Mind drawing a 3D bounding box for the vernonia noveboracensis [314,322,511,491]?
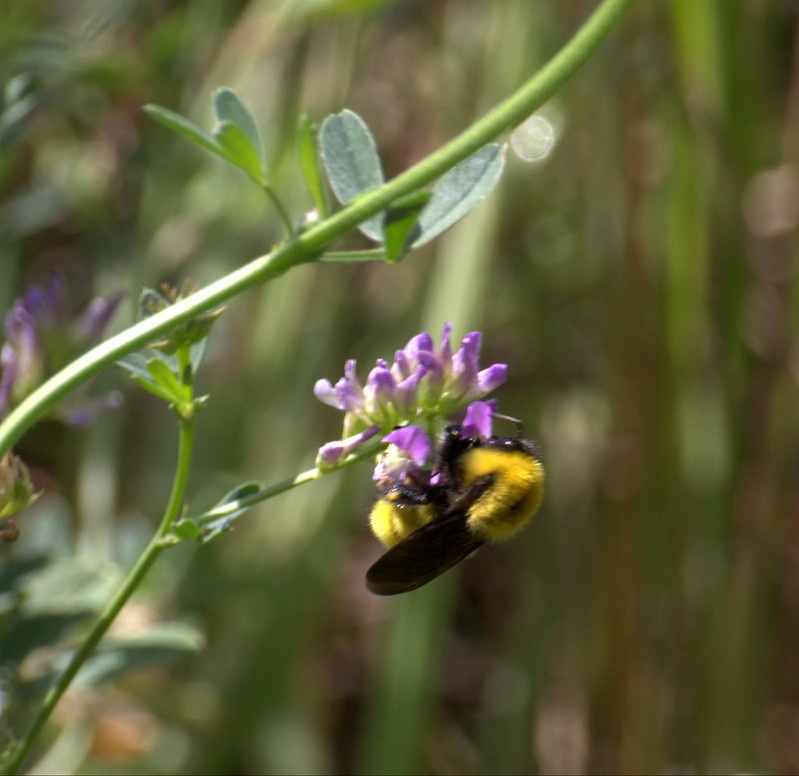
[{"bbox_3d":[0.003,0.016,1.103,0.196,0.120,0.149,-18,-6,-12],"label":"vernonia noveboracensis"}]
